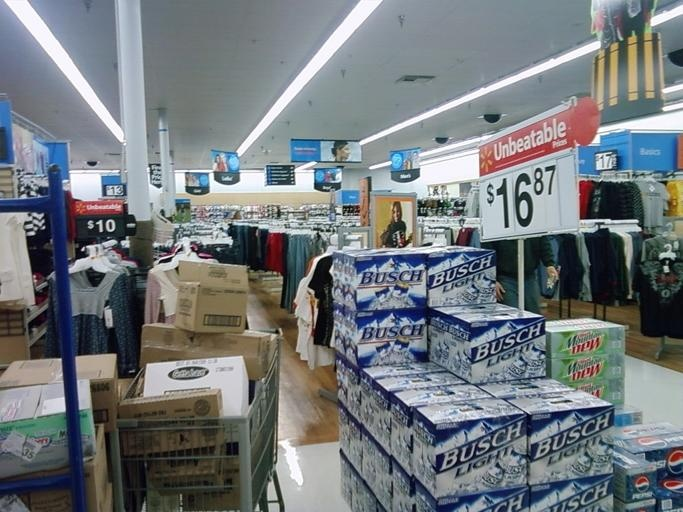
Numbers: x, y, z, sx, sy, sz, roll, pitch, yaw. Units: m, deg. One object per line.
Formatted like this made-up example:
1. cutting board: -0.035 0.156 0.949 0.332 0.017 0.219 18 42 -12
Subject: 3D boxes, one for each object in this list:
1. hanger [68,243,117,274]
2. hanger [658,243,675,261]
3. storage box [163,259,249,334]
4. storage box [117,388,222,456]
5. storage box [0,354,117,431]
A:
1. hanger: -1.960 0.040 3.913 0.411 0.161 0.324 1 2 42
2. hanger: 3.794 -0.047 5.776 0.033 0.199 0.192 8 -5 -39
3. storage box: -0.771 0.240 2.973 0.370 0.377 0.314 8 -5 -40
4. storage box: -0.785 0.800 2.308 0.443 0.260 0.151 1 -12 -19
5. storage box: -1.167 0.577 2.062 0.372 0.101 0.354 -1 6 -16
